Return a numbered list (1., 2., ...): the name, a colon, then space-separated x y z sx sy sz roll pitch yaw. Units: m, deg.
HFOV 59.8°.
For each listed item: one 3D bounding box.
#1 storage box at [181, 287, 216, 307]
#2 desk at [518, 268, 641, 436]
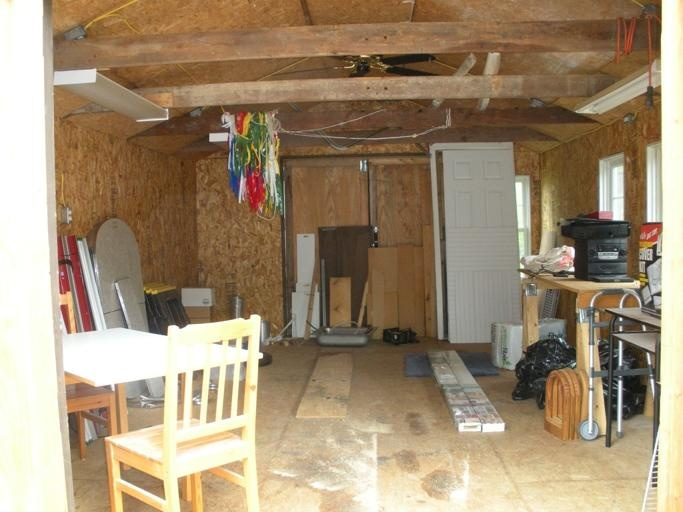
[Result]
1. storage box: -2.003 0.569 8.294 0.340 0.172 0.300 -1 -1 -4
2. desk: 2.081 0.855 5.165 0.592 0.817 1.469 -1 1 2
